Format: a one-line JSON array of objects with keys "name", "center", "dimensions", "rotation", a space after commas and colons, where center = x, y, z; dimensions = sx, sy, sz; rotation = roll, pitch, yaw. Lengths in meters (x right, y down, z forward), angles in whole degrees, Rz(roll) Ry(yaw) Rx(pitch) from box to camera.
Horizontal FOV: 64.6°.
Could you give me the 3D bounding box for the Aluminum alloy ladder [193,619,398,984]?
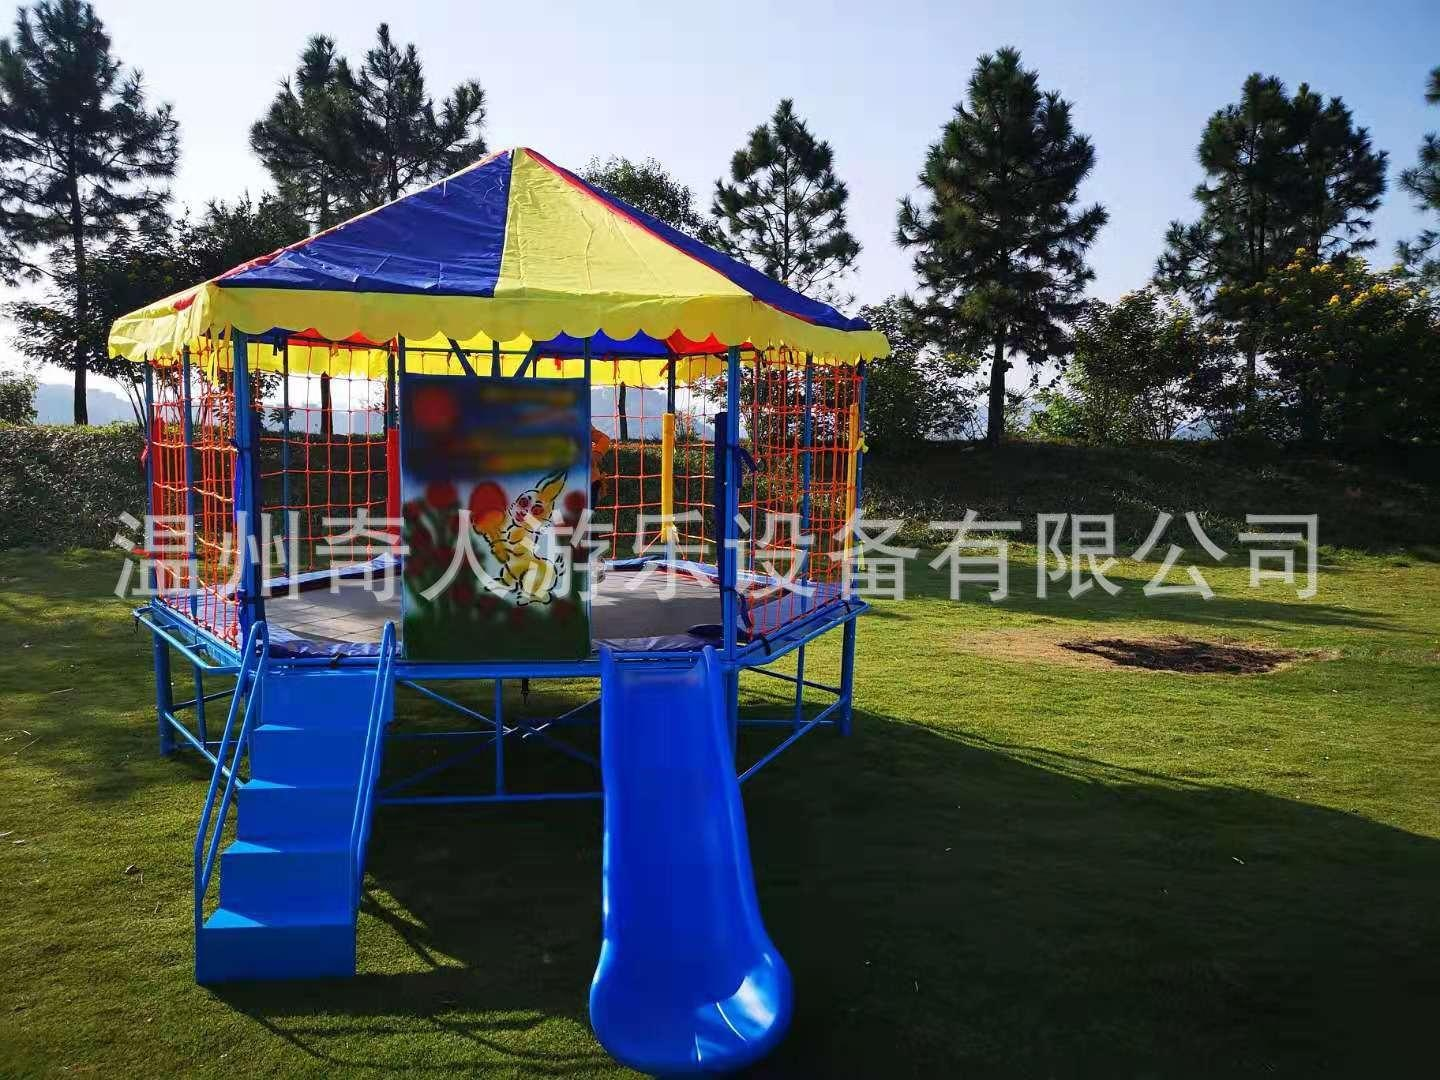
[{"name": "Aluminum alloy ladder", "center": [-3.009, 1.894, 8.132], "dimensions": [0.793, 2.615, 0.907], "rotation": [3, -33, -8]}]
